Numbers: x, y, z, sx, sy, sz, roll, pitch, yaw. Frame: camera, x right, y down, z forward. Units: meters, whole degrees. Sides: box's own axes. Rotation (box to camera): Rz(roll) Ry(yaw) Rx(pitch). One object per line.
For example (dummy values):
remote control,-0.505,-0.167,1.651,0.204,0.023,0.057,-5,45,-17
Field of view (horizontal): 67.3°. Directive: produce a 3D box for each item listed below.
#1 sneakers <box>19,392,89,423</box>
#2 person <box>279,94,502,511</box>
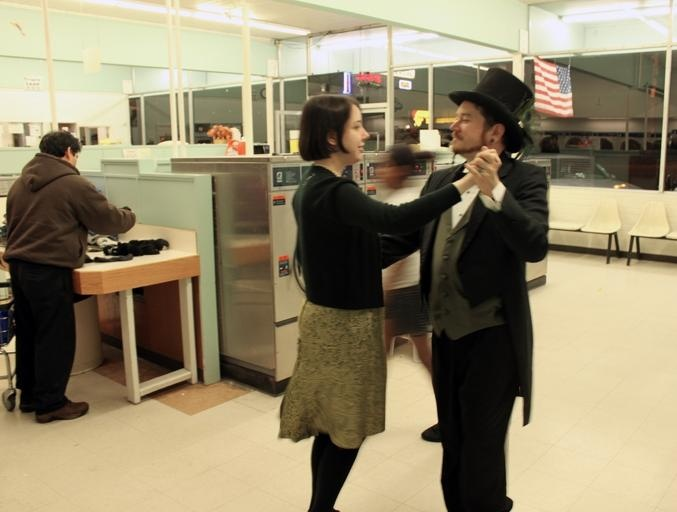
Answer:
sneakers,-1.964,1.079,3.546,0.299,0.119,0.219,-4,8,-31
person,0.069,0.316,2.010,0.661,1.847,0.396,1,14,11
